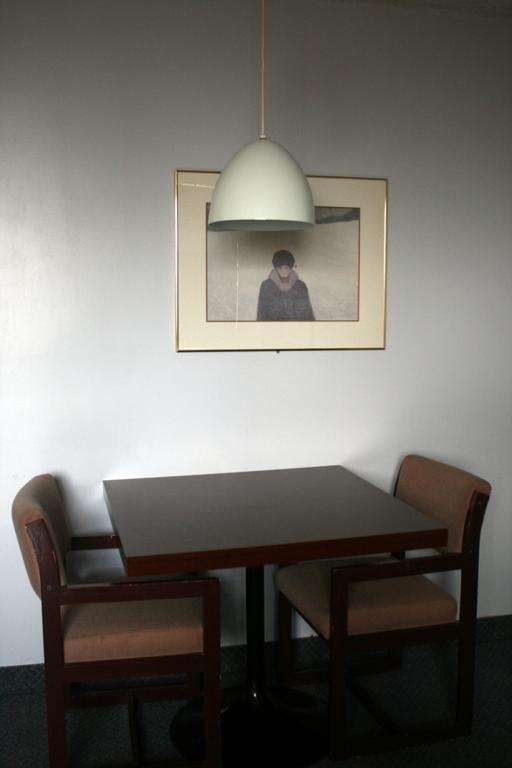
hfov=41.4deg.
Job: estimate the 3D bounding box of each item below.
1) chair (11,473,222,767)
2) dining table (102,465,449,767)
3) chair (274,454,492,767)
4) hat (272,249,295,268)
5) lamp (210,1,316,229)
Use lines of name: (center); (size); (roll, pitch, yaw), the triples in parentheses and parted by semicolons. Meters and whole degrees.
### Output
chair: (-0.330, 0.638, 2.240); (0.662, 1.180, 0.613); (-2, 10, -9)
dining table: (0.030, 0.578, 2.033); (0.739, 0.846, 0.806); (-3, 11, -12)
chair: (0.409, 0.637, 2.445); (0.665, 1.237, 0.737); (0, 1, -13)
hat: (0.093, -0.444, 2.410); (0.048, 0.061, 0.071); (1, 10, 3)
lamp: (0.013, -0.807, 2.021); (0.295, 0.687, 0.560); (0, 6, -3)
